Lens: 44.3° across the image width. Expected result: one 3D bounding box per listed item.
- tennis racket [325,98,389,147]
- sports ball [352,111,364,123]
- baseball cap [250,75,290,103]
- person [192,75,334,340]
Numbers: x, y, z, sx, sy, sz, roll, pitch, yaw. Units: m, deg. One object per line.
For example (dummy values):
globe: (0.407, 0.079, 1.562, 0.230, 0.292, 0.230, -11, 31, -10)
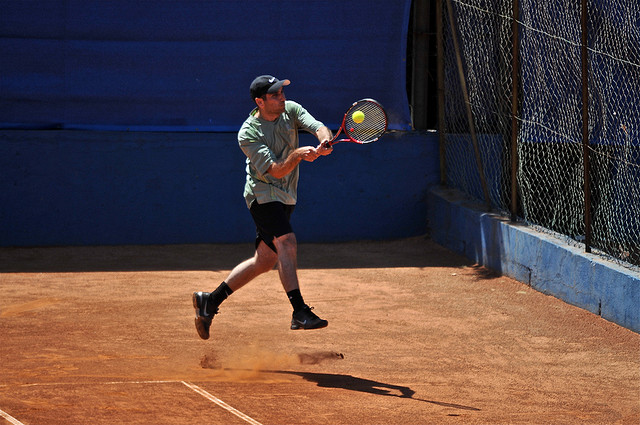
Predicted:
tennis racket: (0.413, -0.875, 7.583, 0.430, 0.410, 0.251, 1, 9, 12)
sports ball: (0.364, -0.917, 7.583, 0.113, 0.085, 0.083, -13, -23, -9)
baseball cap: (-0.491, -1.189, 7.549, 0.350, 0.239, 0.281, -2, 8, -5)
person: (-0.511, -0.010, 7.544, 1.293, 2.568, 0.859, 0, 9, 8)
